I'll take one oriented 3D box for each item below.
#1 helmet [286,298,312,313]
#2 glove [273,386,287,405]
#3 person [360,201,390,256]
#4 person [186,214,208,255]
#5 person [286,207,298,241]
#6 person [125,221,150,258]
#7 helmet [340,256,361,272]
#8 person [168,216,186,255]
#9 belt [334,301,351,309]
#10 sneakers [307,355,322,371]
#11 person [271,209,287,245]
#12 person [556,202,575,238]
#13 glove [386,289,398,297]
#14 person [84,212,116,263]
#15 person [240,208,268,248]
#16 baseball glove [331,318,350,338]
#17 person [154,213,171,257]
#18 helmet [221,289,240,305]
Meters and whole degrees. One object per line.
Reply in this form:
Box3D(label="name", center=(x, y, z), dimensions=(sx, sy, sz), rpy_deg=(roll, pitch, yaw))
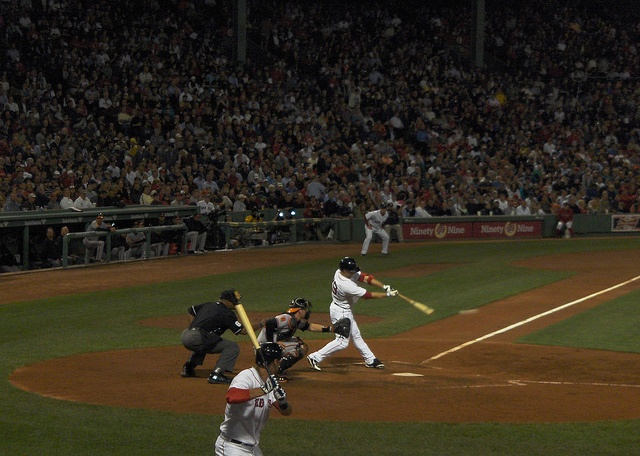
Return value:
Box3D(label="helmet", center=(-0.422, 1.611, 15.925), dimensions=(0.543, 0.251, 0.363), rpy_deg=(-5, 4, -14))
Box3D(label="glove", center=(-0.656, 2.717, 12.246), dimensions=(0.195, 0.311, 0.139), rpy_deg=(-24, 8, -7))
Box3D(label="person", center=(2.107, 0.054, 29.178), dimensions=(1.035, 1.944, 1.507), rpy_deg=(2, 0, 3))
Box3D(label="person", center=(-4.758, 0.220, 28.573), dimensions=(0.610, 1.438, 0.865), rpy_deg=(2, 0, 14))
Box3D(label="person", center=(-1.147, -0.080, 31.053), dimensions=(0.348, 1.248, 0.897), rpy_deg=(2, 0, -2))
Box3D(label="person", center=(-6.662, 0.632, 26.995), dimensions=(0.718, 1.272, 0.551), rpy_deg=(2, 0, -22))
Box3D(label="helmet", center=(0.627, 0.820, 16.816), dimensions=(0.436, 0.196, 0.273), rpy_deg=(6, 31, -14))
Box3D(label="person", center=(-5.236, 0.272, 27.842), dimensions=(0.596, 1.401, 1.282), rpy_deg=(2, 0, -10))
Box3D(label="belt", center=(0.478, 1.703, 16.832), dimensions=(0.239, 0.082, 0.181), rpy_deg=(17, 5, 11))
Box3D(label="sneakers", center=(-0.183, 2.991, 16.738), dimensions=(0.201, 0.470, 0.167), rpy_deg=(-27, 13, 6))
Box3D(label="person", center=(-1.667, 0.011, 30.642), dimensions=(0.580, 1.313, 0.855), rpy_deg=(2, 0, 32))
Box3D(label="person", center=(11.199, -0.355, 34.587), dimensions=(0.726, 1.447, 0.393), rpy_deg=(2, 0, 15))
Box3D(label="glove", center=(1.576, 1.444, 16.717), dimensions=(0.204, 0.068, 0.144), rpy_deg=(-10, 4, 24))
Box3D(label="person", center=(-7.641, 0.359, 25.699), dimensions=(0.890, 1.759, 1.262), rpy_deg=(2, 0, -21))
Box3D(label="person", center=(-2.636, -0.049, 29.784), dimensions=(0.924, 1.444, 1.271), rpy_deg=(2, 0, 0))
Box3D(label="baseball glove", center=(0.469, 2.156, 16.400), dimensions=(0.302, 0.332, 0.467), rpy_deg=(-3, 10, -38))
Box3D(label="person", center=(-5.907, 0.270, 27.594), dimensions=(0.631, 1.527, 1.024), rpy_deg=(2, 0, -6))
Box3D(label="helmet", center=(-1.741, 1.357, 14.827), dimensions=(0.368, 0.199, 0.446), rpy_deg=(14, -12, -25))
